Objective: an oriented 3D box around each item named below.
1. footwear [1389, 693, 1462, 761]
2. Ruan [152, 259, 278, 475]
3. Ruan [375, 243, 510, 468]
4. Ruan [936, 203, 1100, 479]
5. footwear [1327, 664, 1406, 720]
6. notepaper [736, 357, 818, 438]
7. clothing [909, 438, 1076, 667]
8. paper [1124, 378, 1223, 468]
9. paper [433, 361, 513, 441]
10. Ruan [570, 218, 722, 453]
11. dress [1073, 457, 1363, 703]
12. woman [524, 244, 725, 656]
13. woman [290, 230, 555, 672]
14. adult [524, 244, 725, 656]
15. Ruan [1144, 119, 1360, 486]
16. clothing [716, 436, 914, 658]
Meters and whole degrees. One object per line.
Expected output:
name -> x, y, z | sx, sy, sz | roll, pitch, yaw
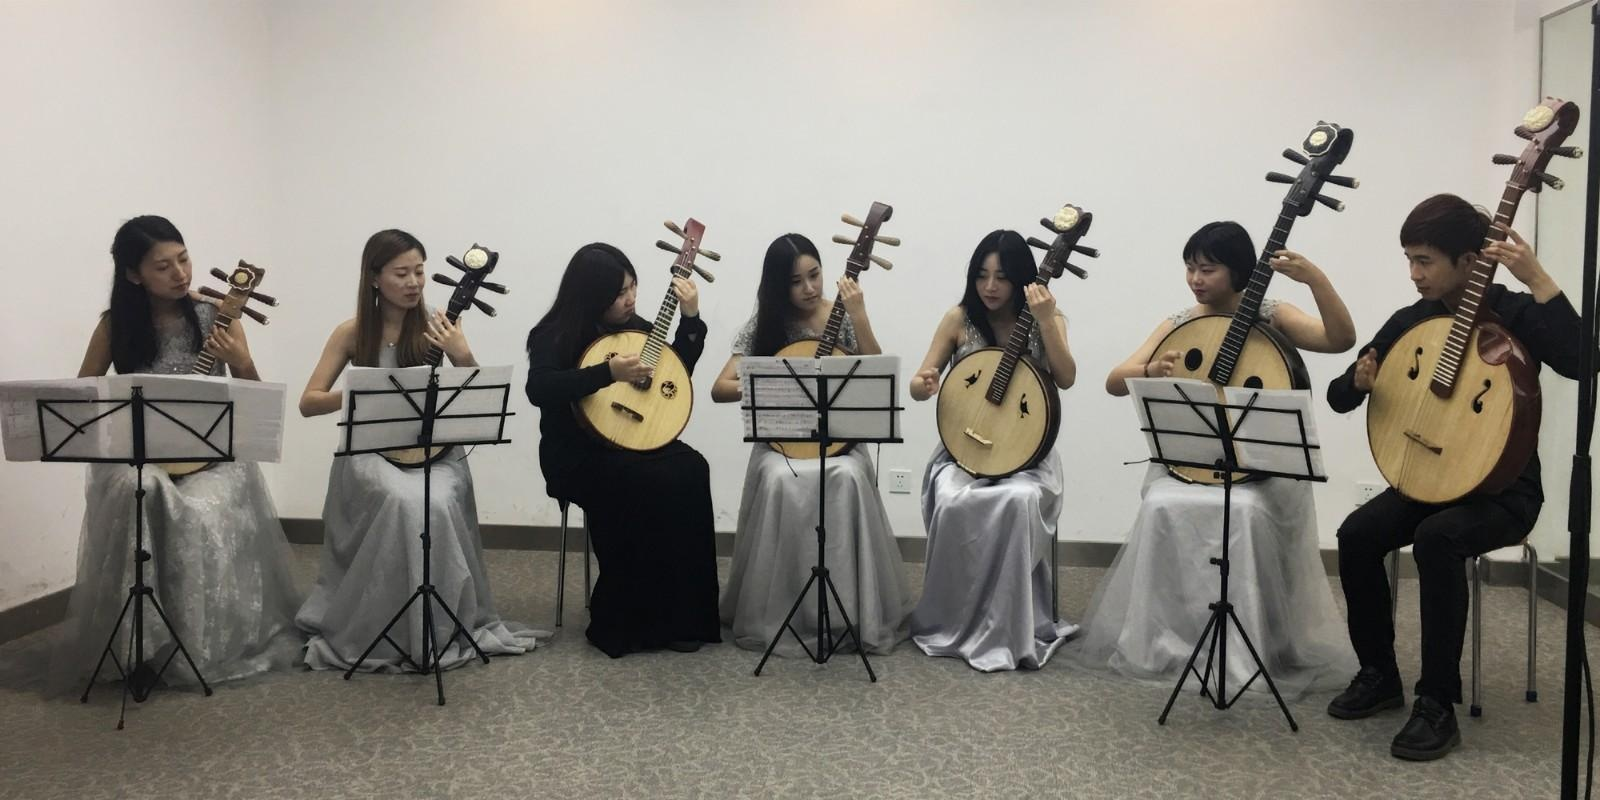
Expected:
footwear -> 3.379, 1.767, 7.119 | 0.350, 0.324, 0.118 | 1, 3, -11
Ruan -> -3.387, -0.302, 7.778 | 0.583, 1.438, 0.232 | 18, -9, -3
Ruan -> -2.106, -0.277, 7.930 | 0.616, 1.507, 0.253 | 19, -3, 9
Ruan -> 1.312, -0.274, 7.778 | 0.785, 1.732, 0.271 | 26, 16, 23
footwear -> 3.209, 1.625, 7.433 | 0.547, 0.243, 0.213 | -6, 13, -24
notepaper -> -0.123, -0.026, 7.574 | 0.480, 0.455, 0.144 | 1, 12, 0
clothing -> 1.111, 0.992, 7.824 | 1.019, 1.403, 1.131 | 1, -2, 21
paper -> 2.096, 0.122, 7.278 | 0.520, 0.490, 0.222 | 2, 3, 15
paper -> -1.870, 0.005, 7.499 | 0.486, 0.451, 0.064 | 0, 8, -14
Ruan -> -0.863, -0.296, 8.034 | 0.760, 1.477, 0.233 | 21, -13, -7
dress -> 2.495, 0.978, 7.821 | 1.594, 1.022, 1.323 | 1, 8, 13
woman -> -1.020, 0.284, 7.862 | 1.270, 2.375, 0.518 | 0, 6, 10
woman -> -2.330, 0.301, 8.044 | 1.536, 2.454, 1.426 | -2, 11, -19
adult -> -0.994, 0.283, 7.840 | 1.270, 2.375, 0.518 | 0, 6, 10
Ruan -> 2.641, -0.619, 7.568 | 0.989, 2.257, 0.315 | 20, 5, 29
clothing -> 0.114, 0.862, 8.191 | 1.251, 1.239, 0.923 | -1, 16, 0
